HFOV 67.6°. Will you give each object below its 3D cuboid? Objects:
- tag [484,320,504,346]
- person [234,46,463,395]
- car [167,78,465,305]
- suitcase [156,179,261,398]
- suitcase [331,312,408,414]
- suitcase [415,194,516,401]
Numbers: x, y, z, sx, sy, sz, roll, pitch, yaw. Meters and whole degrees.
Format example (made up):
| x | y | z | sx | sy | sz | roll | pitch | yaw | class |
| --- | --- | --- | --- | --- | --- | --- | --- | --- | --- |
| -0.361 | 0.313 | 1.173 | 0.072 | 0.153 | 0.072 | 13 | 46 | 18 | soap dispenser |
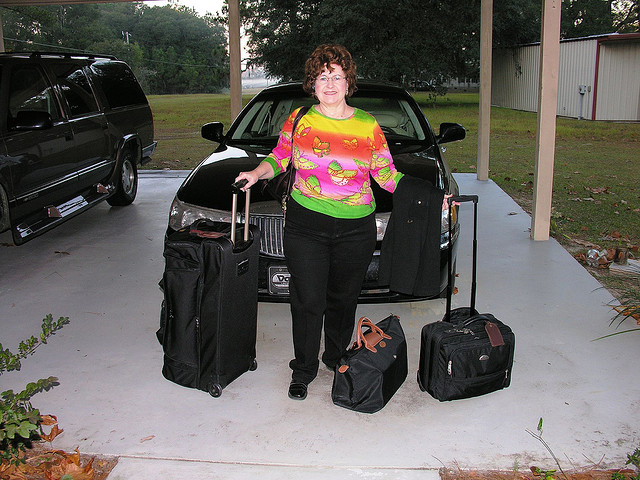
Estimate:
| x | y | z | sx | sy | sz | roll | pitch | yaw | class |
| --- | --- | --- | --- | --- | --- | --- | --- | --- | --- |
| 1.037 | 0.567 | 2.829 | 0.097 | 0.108 | 0.100 | -4 | 19 | -5 | tag |
| 0.059 | -0.068 | 2.883 | 1.007 | 2.054 | 0.369 | -9 | 20 | -19 | person |
| -0.383 | -0.623 | 4.742 | 3.326 | 1.518 | 1.826 | -1 | 41 | 14 | car |
| -0.664 | 0.346 | 2.916 | 0.679 | 1.275 | 0.345 | -10 | 20 | -21 | suitcase |
| 0.326 | 0.720 | 2.962 | 0.352 | 0.429 | 0.629 | 9 | 26 | 34 | suitcase |
| 0.916 | 0.356 | 2.946 | 0.517 | 1.283 | 0.431 | -3 | 12 | -12 | suitcase |
